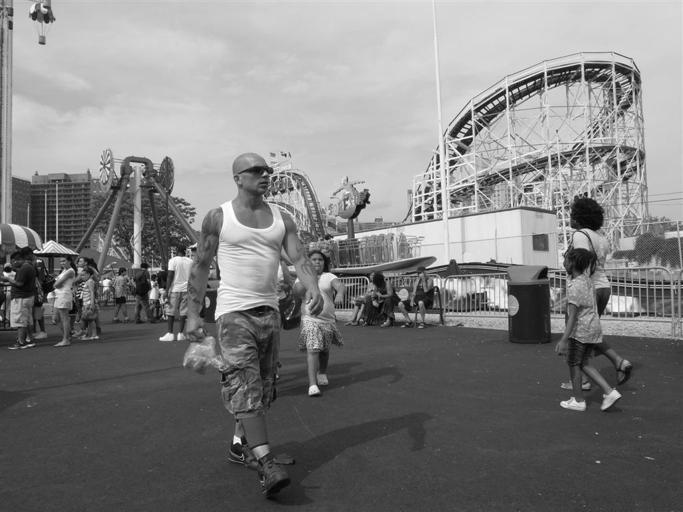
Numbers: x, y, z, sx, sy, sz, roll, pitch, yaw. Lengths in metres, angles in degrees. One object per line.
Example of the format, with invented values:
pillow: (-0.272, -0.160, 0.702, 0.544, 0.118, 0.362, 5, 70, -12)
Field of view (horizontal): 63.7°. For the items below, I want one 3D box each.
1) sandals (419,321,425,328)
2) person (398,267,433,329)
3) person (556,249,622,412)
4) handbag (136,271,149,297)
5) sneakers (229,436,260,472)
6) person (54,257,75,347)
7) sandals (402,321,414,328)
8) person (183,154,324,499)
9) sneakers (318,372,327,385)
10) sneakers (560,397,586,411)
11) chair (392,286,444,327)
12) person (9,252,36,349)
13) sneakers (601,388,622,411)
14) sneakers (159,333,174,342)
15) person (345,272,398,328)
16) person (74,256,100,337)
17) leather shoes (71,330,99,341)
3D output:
sandals: (2.166, 1.868, 14.936, 0.093, 0.121, 0.291, -2, -11, 10)
person: (2.105, 1.134, 15.131, 0.664, 1.658, 0.969, -2, 2, -37)
person: (2.881, 0.843, 6.391, 0.632, 1.856, 0.927, 0, 2, 27)
handbag: (-6.590, 0.908, 18.075, 0.443, 0.861, 0.391, -2, 2, -30)
sneakers: (-0.906, 1.792, 4.979, 0.172, 0.228, 0.461, 7, -10, -42)
person: (-6.362, 1.024, 12.560, 0.476, 2.026, 1.507, -2, 2, -27)
sandals: (1.849, 1.909, 15.223, 0.388, 0.171, 0.150, 3, -6, -14)
person: (-0.736, 0.528, 4.797, 1.115, 2.829, 0.777, 0, 2, 33)
sneakers: (-0.292, 1.759, 7.860, 0.104, 0.140, 0.339, 1, -13, -4)
sneakers: (2.680, 1.706, 6.374, 0.293, 0.150, 0.124, -1, -3, 29)
chair: (2.178, 1.450, 15.355, 0.935, 1.230, 1.307, -8, -17, 33)
person: (-7.063, 0.945, 12.096, 0.522, 2.133, 1.154, -2, 2, -32)
sneakers: (3.093, 1.653, 6.298, 0.095, 0.116, 0.261, -24, -29, -43)
sneakers: (-4.207, 1.933, 13.056, 0.184, 0.235, 0.489, 8, -10, -44)
person: (0.958, 1.260, 16.055, 0.690, 1.589, 1.646, -2, 2, -41)
person: (-6.349, 1.055, 13.689, 0.475, 2.006, 1.222, -2, 2, -26)
leather shoes: (-6.431, 1.995, 13.712, 0.558, 0.272, 0.201, -3, -3, 13)
